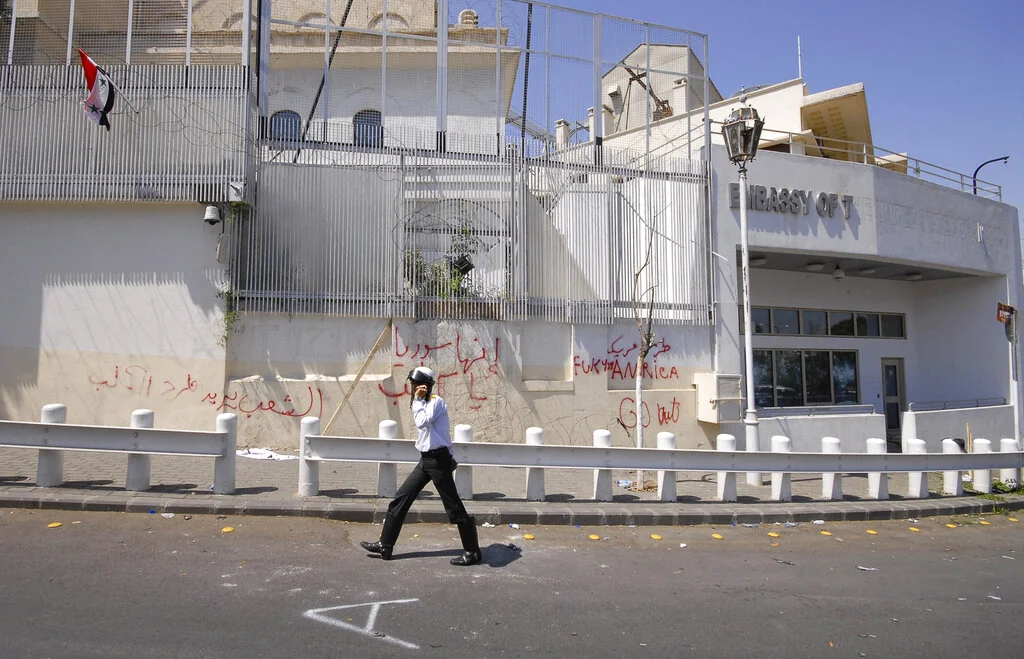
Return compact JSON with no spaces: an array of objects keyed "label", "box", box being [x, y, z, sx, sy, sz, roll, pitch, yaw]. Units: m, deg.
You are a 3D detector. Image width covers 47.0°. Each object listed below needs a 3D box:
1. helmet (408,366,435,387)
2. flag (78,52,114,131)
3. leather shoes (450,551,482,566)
[{"label":"helmet","box":[-1.733,0.894,22.565,0.491,0.418,0.385,9,-9,-6]},{"label":"flag","box":[-9.697,-5.502,27.614,0.833,1.874,0.427,5,-1,-30]},{"label":"leather shoes","box":[-0.886,4.302,22.163,0.480,0.212,0.267,6,-7,-9]}]
